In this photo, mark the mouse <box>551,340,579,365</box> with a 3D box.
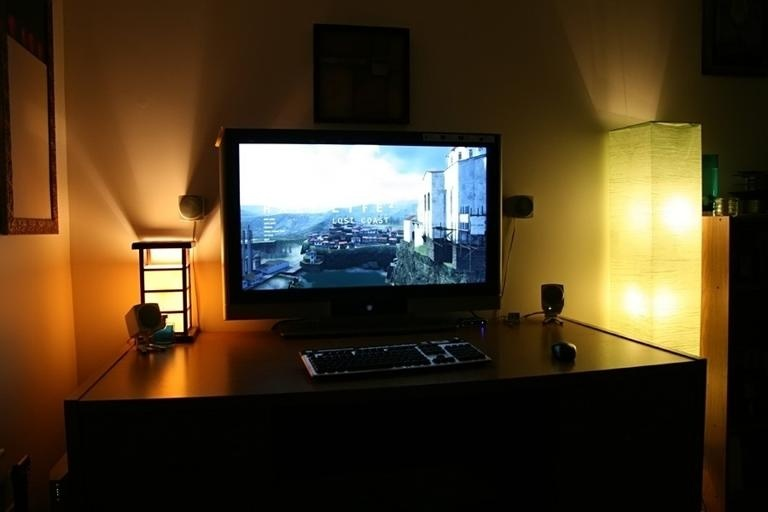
[{"bbox_3d":[0.741,0.392,2.371,0.088,0.063,0.081,3,4,-6],"label":"mouse"}]

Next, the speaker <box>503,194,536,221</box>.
[{"bbox_3d":[0.677,-0.247,2.895,0.123,0.114,0.125,0,0,-1],"label":"speaker"}]

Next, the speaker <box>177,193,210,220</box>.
[{"bbox_3d":[-0.906,-0.231,2.731,0.132,0.121,0.047,4,0,-26],"label":"speaker"}]

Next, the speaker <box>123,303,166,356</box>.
[{"bbox_3d":[-1.043,0.312,2.547,0.184,0.200,0.156,-12,-5,34],"label":"speaker"}]

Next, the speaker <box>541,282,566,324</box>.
[{"bbox_3d":[0.823,0.238,2.855,0.113,0.197,0.100,1,-10,14],"label":"speaker"}]

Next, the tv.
[{"bbox_3d":[-0.090,-0.158,2.687,1.271,0.850,0.392,0,14,2],"label":"tv"}]
